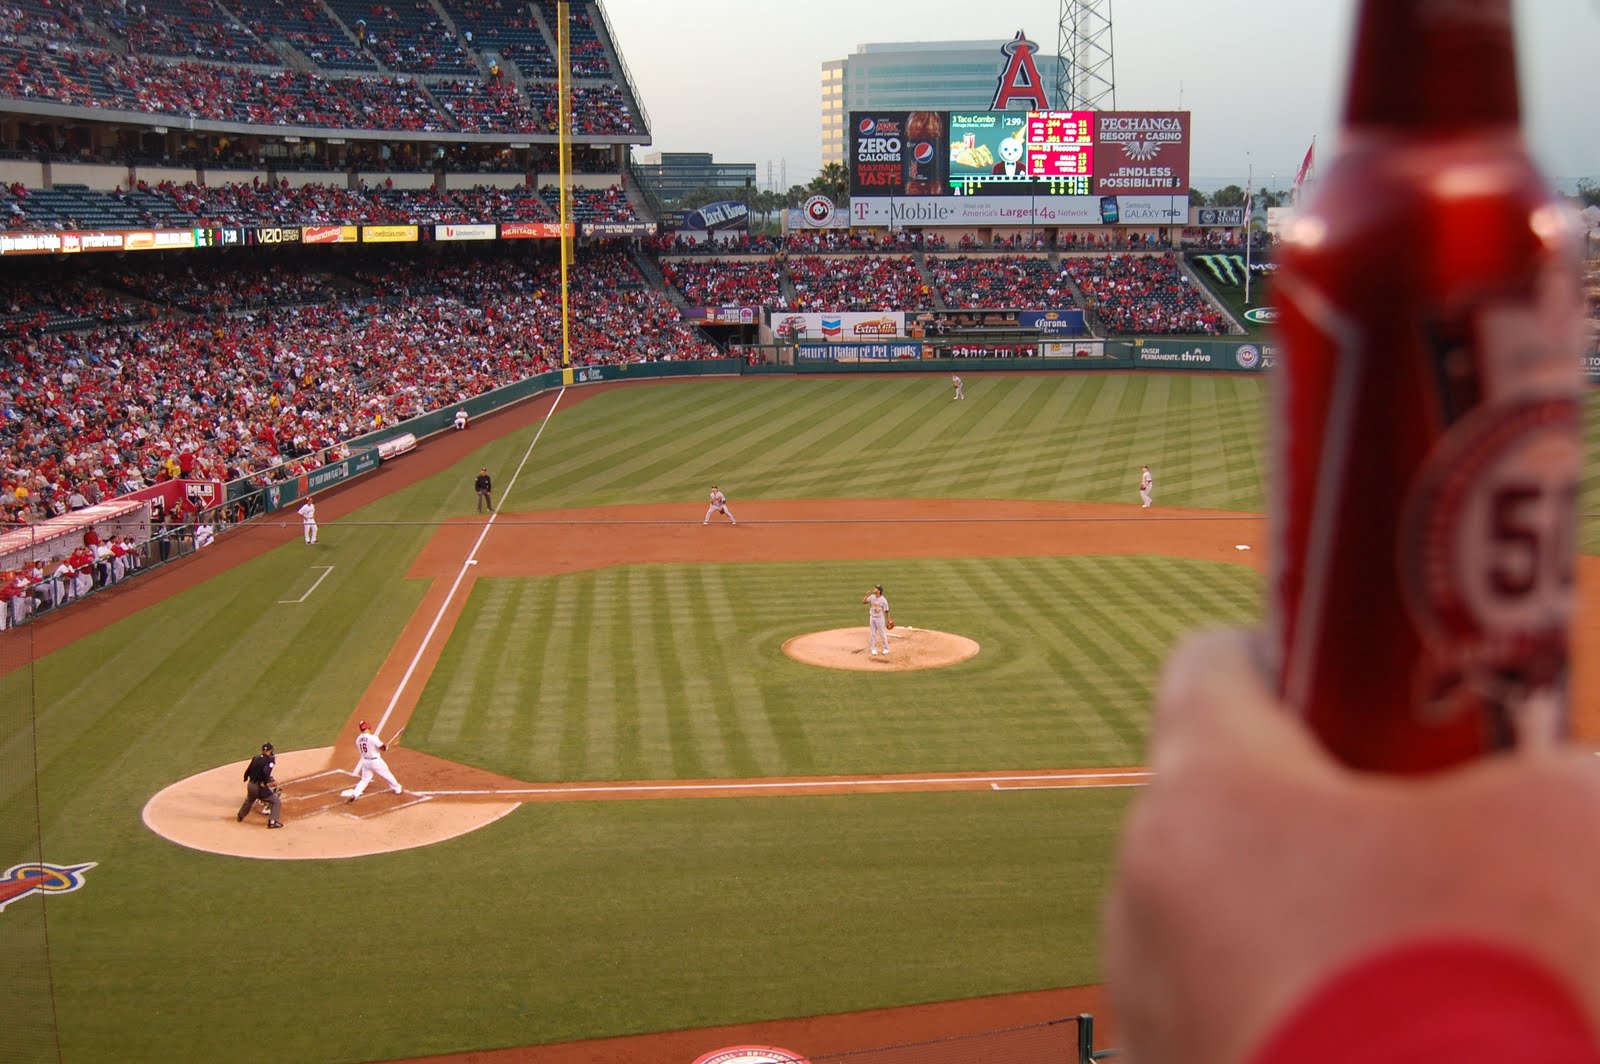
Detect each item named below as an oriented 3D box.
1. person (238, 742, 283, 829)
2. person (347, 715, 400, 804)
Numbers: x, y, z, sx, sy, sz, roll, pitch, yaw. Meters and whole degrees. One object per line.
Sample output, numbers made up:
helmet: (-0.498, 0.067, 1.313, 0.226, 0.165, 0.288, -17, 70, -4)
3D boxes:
person: (-7.581, 3.592, 18.297, 0.629, 1.106, 0.559, 33, 41, 33)
person: (-6.222, 3.170, 18.862, 0.807, 1.232, 1.073, -5, 14, -18)
